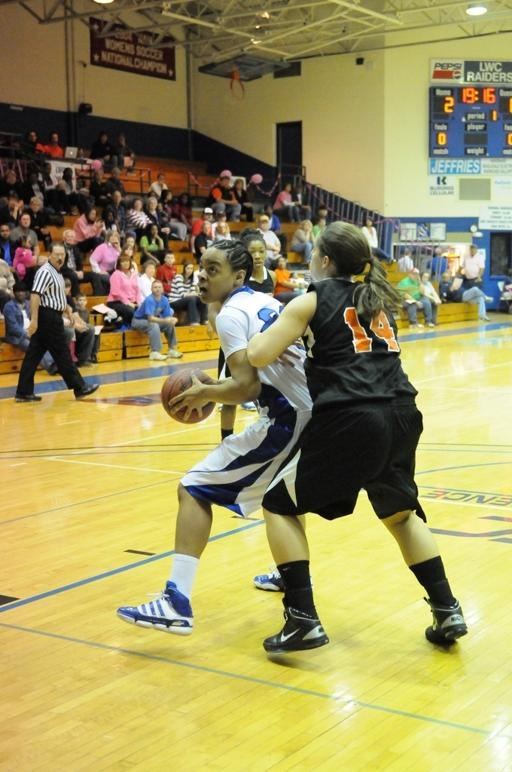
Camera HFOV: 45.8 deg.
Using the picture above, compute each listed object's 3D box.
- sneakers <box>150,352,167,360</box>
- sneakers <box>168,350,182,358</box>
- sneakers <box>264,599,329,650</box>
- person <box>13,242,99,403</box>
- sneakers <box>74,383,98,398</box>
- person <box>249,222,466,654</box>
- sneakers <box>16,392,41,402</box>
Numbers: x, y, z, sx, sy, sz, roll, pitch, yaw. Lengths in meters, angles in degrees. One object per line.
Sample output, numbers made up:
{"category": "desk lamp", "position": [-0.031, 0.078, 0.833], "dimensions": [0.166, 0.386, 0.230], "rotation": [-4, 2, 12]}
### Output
{"category": "sneakers", "position": [-1.875, -0.570, 11.743], "dimensions": [0.394, 0.177, 0.143], "rotation": [-1, 5, 39]}
{"category": "sneakers", "position": [-1.589, -0.618, 11.928], "dimensions": [0.262, 0.168, 0.117], "rotation": [1, 13, 4]}
{"category": "sneakers", "position": [0.121, 0.746, 1.882], "dimensions": [0.252, 0.162, 0.094], "rotation": [-4, -1, 26]}
{"category": "person", "position": [-2.655, -0.811, 7.998], "dimensions": [0.939, 2.098, 0.878], "rotation": [1, 1, -24]}
{"category": "sneakers", "position": [-2.280, 0.080, 8.213], "dimensions": [0.346, 0.160, 0.166], "rotation": [-25, 13, -3]}
{"category": "person", "position": [0.296, 0.177, 1.846], "dimensions": [0.705, 1.368, 0.354], "rotation": [1, 1, -26]}
{"category": "sneakers", "position": [-3.051, 0.155, 8.166], "dimensions": [0.375, 0.161, 0.128], "rotation": [-1, 6, -23]}
